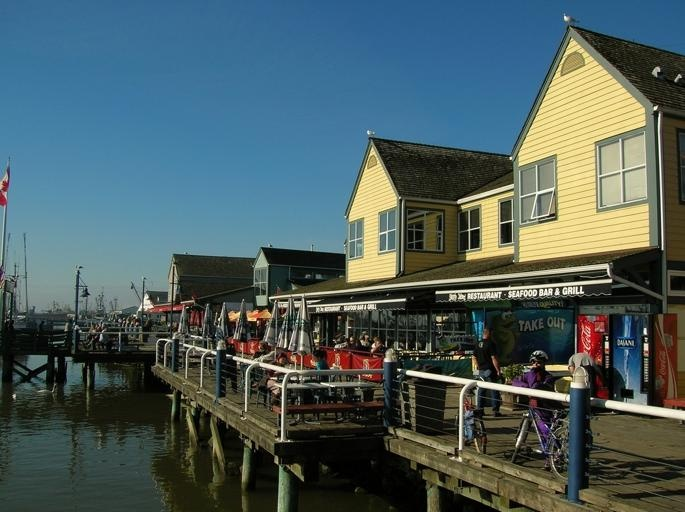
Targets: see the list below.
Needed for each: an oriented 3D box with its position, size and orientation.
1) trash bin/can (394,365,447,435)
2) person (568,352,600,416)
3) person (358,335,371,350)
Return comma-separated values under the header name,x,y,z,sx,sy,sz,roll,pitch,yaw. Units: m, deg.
name,x,y,z,sx,sy,sz,roll,pitch,yaw
trash bin/can,1.560,2.928,13.845,0.777,1.132,0.914,-1,-2,-28
person,5.160,2.663,15.064,0.566,1.224,3.597,-2,-2,19
person,0.790,3.105,25.090,0.505,0.790,0.282,1,-12,-9
